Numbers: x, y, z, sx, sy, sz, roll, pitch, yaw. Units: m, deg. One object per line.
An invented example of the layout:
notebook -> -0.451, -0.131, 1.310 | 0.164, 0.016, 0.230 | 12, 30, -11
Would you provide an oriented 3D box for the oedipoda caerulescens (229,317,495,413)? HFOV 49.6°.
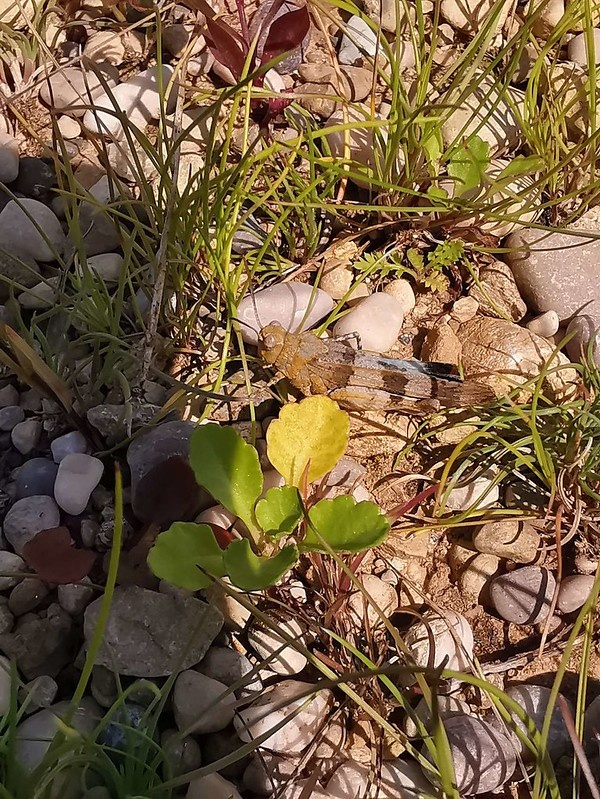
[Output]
oedipoda caerulescens -> 0.115, -0.042, 1.128 | 0.405, 0.175, 0.107 | 19, 45, -7
